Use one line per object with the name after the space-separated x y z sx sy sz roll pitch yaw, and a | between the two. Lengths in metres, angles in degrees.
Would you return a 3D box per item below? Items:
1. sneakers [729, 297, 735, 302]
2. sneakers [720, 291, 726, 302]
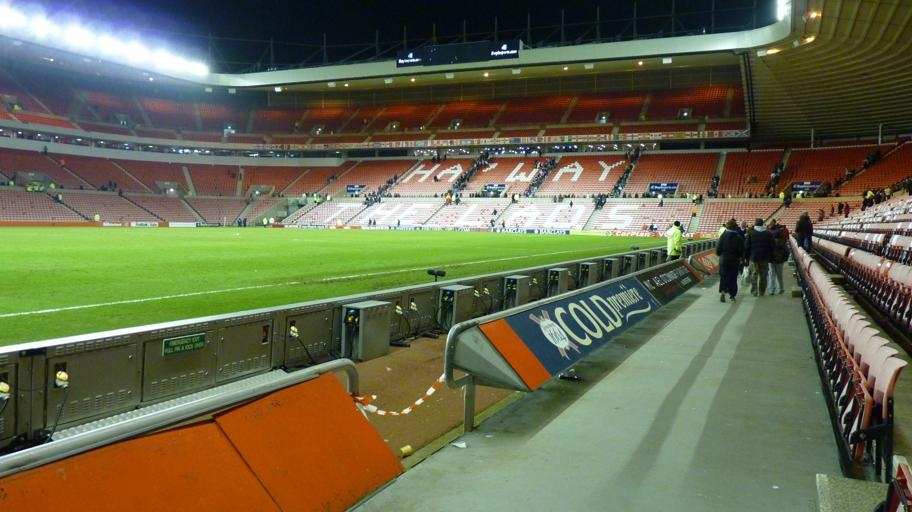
7.606 1.180 16.477 0.096 0.106 0.055 10 8 29 | sneakers
7.265 1.101 16.287 0.158 0.331 0.151 -4 14 11 | sneakers
